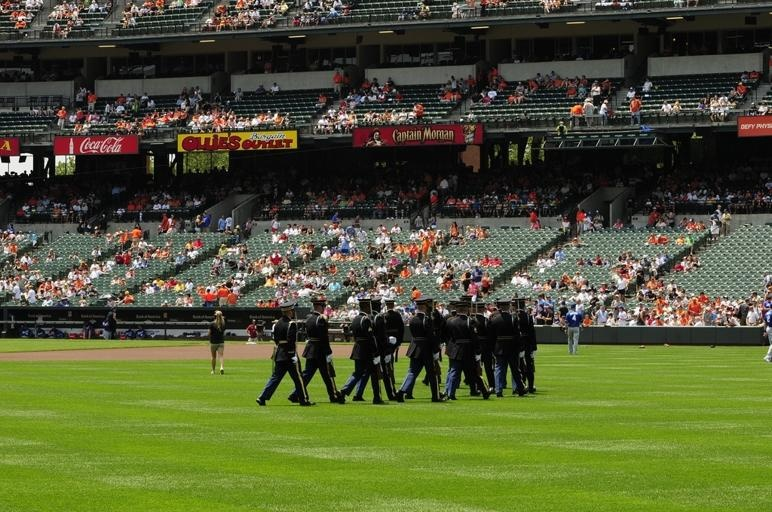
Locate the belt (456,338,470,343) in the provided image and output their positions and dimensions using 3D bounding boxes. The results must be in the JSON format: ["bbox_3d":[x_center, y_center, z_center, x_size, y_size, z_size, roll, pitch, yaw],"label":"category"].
[{"bbox_3d":[2.837,3.132,73.215,0.451,0.120,0.043,2,7,3],"label":"belt"}]

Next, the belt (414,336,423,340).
[{"bbox_3d":[1.152,3.005,72.811,0.370,0.125,0.052,3,8,8],"label":"belt"}]

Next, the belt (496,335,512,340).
[{"bbox_3d":[4.416,3.055,73.752,0.569,0.154,0.069,2,8,7],"label":"belt"}]

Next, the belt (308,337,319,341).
[{"bbox_3d":[-2.752,3.026,72.240,0.404,0.170,0.085,4,8,20],"label":"belt"}]

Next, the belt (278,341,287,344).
[{"bbox_3d":[-3.889,3.136,72.341,0.321,0.149,0.057,3,8,9],"label":"belt"}]
